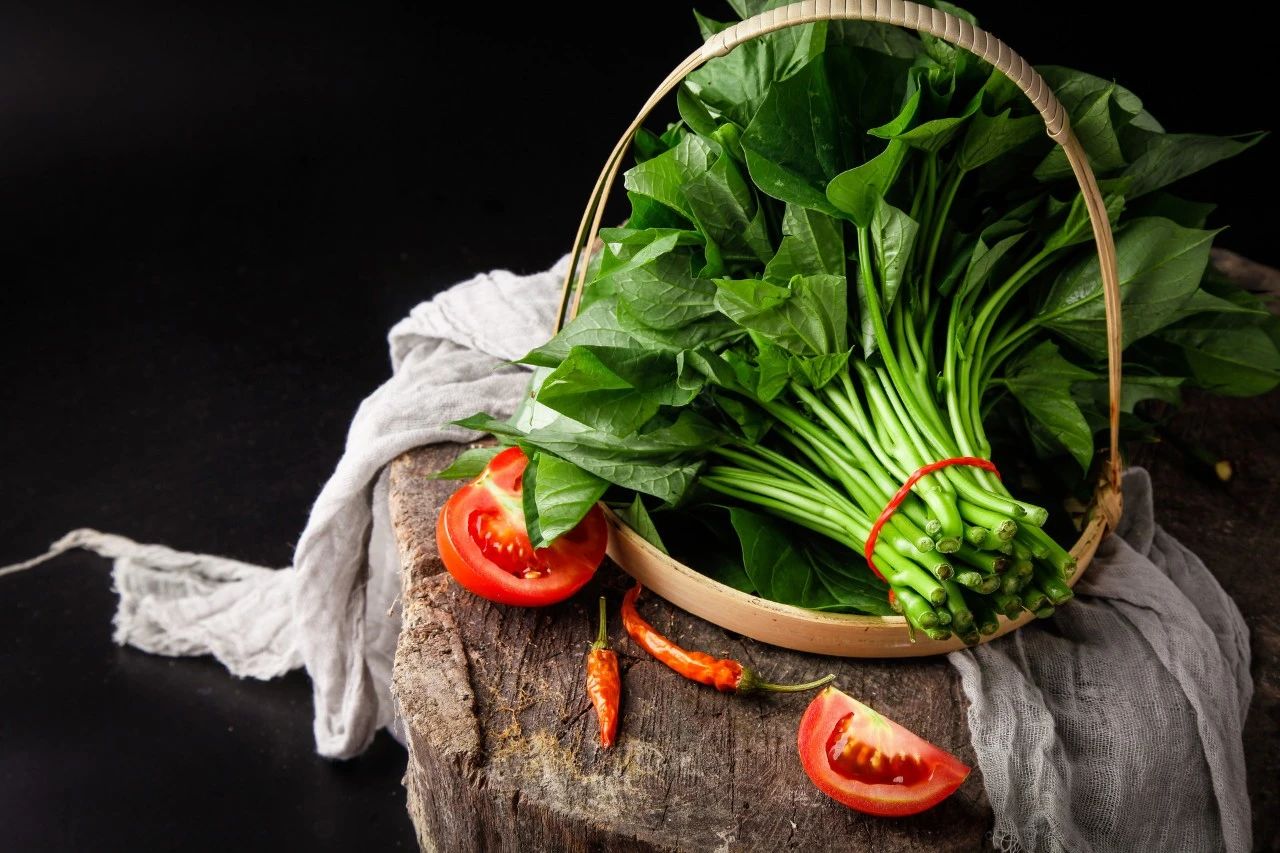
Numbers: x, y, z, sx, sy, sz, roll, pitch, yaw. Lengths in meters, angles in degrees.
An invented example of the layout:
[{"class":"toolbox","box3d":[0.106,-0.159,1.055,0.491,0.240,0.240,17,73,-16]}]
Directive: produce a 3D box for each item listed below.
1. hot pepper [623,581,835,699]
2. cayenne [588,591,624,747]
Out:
[{"class":"hot pepper","box3d":[0.155,0.441,2.410,0.431,0.078,0.162,29,21,20]},{"class":"cayenne","box3d":[-0.064,0.484,2.351,0.044,0.036,0.245,7,49,-10]}]
